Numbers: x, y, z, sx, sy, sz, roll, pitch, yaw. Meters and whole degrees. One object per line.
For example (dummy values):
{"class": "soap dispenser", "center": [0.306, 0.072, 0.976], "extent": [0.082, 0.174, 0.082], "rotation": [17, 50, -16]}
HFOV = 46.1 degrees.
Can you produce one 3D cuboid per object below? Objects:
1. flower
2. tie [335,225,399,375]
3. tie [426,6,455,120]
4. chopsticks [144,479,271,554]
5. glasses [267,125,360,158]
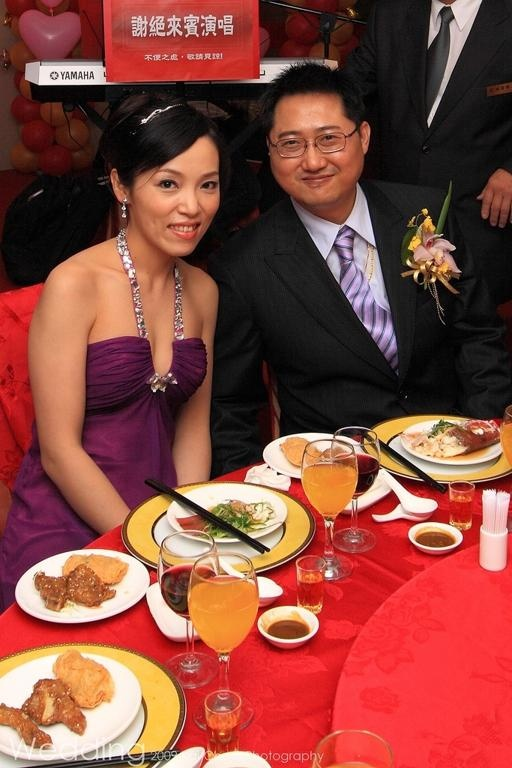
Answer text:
{"class": "flower", "center": [0.591, -0.413, 2.019], "extent": [0.182, 0.432, 0.411], "rotation": [-1, 21, 19]}
{"class": "tie", "center": [0.363, -0.285, 2.012], "extent": [0.133, 0.468, 0.234], "rotation": [-15, 21, -17]}
{"class": "tie", "center": [0.811, -1.403, 2.693], "extent": [0.084, 0.467, 0.050], "rotation": [16, 22, 21]}
{"class": "chopsticks", "center": [-0.081, 0.231, 1.044], "extent": [0.208, 0.016, 0.017], "rotation": [26, 67, 22]}
{"class": "glasses", "center": [0.186, -0.748, 1.895], "extent": [0.261, 0.067, 0.095], "rotation": [-4, 20, 9]}
